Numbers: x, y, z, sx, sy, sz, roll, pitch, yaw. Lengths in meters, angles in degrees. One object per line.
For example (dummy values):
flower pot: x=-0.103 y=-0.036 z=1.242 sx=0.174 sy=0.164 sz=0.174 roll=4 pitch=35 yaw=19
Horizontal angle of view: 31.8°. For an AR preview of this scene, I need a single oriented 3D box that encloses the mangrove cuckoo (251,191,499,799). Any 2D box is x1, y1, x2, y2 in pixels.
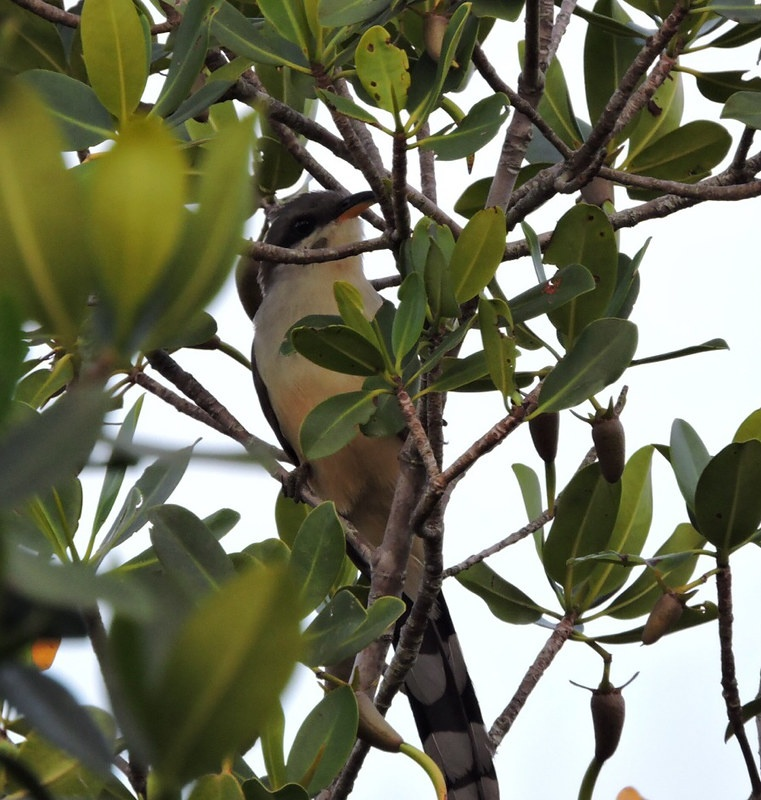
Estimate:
mangrove cuckoo: x=-0.059 y=0.161 z=3.666 sx=0.473 sy=0.523 sz=1.820 roll=-10 pitch=-98 yaw=10
